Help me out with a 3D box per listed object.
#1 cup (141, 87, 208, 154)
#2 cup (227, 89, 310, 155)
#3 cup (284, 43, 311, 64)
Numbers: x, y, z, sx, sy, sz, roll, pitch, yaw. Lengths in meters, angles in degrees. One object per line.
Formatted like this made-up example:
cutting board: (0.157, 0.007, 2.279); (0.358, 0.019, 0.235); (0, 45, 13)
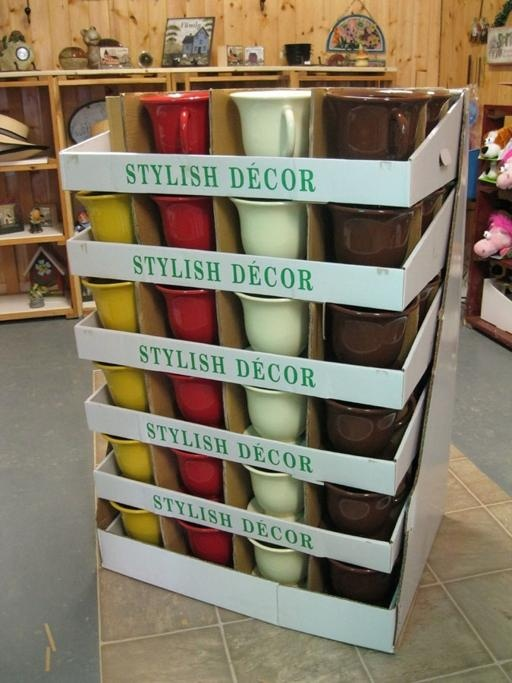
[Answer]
cup: (-0.164, -0.436, 1.182); (0.118, 0.102, 0.153); (-5, 34, -7)
cup: (0.029, -0.386, 1.054); (0.113, 0.101, 0.153); (-5, 32, -5)
cup: (0.255, -1.711, 3.574); (0.141, 0.097, 0.133); (-1, 36, 1)
